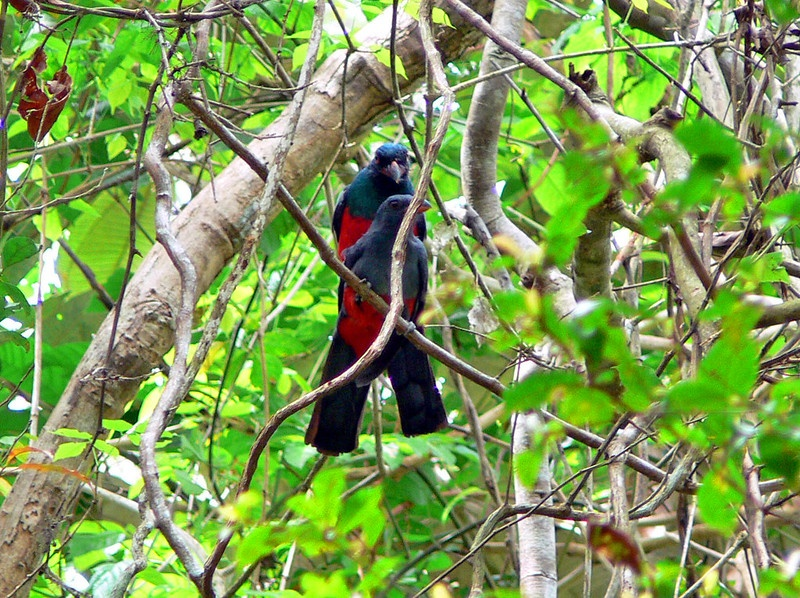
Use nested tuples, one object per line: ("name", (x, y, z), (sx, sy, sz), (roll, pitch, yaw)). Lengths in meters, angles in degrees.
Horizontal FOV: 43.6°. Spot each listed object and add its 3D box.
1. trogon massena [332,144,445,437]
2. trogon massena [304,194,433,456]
("trogon massena", (-0.092, 0.092, 4.129), (0.457, 0.591, 1.406), (1, -75, 5))
("trogon massena", (-0.060, 0.053, 3.999), (0.517, 1.170, 0.638), (2, -38, 2))
